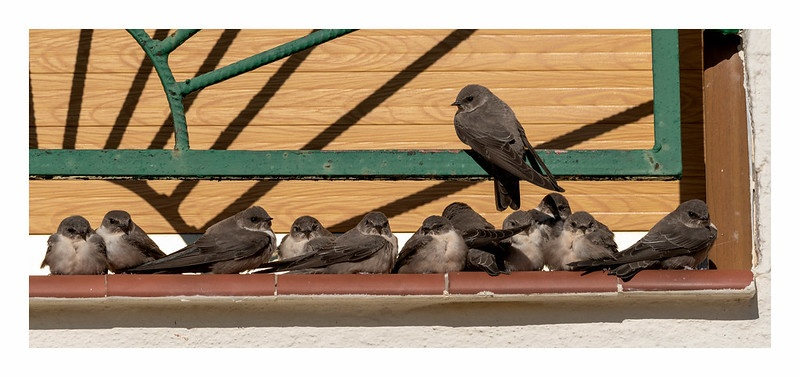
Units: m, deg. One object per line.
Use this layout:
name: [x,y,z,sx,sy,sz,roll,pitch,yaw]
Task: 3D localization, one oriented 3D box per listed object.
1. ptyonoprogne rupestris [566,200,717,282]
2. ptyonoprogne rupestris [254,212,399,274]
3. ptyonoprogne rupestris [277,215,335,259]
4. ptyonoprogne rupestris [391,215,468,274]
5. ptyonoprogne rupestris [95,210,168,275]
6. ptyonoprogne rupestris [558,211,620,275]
ptyonoprogne rupestris: [2.404,0.522,11.810,1.710,0.587,0.685,-9,15,-28]
ptyonoprogne rupestris: [-0.732,0.609,11.974,1.524,0.500,0.584,-7,1,9]
ptyonoprogne rupestris: [-0.940,0.518,12.001,0.496,0.322,0.565,-1,-4,-9]
ptyonoprogne rupestris: [0.369,0.666,12.121,0.857,0.570,0.893,-6,-9,-9]
ptyonoprogne rupestris: [-2.841,0.616,12.382,0.695,0.590,0.985,-5,-7,15]
ptyonoprogne rupestris: [1.883,0.516,11.861,0.616,0.438,0.659,-5,-10,3]
